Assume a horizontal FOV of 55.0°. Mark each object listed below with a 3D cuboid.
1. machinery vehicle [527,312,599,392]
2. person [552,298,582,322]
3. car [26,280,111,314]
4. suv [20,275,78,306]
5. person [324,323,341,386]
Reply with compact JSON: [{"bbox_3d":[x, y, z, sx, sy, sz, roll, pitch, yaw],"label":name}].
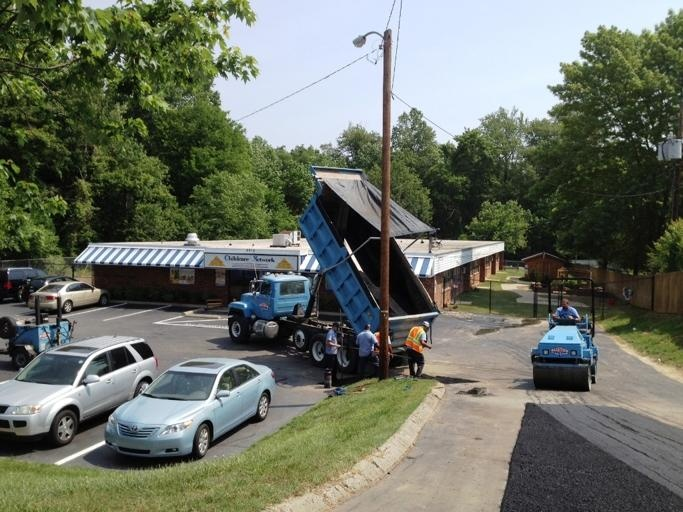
[{"bbox_3d":[7.131,3.311,21.070,1.824,1.978,2.501,-1,-3,21],"label":"machinery vehicle"},{"bbox_3d":[10.160,2.474,29.739,0.902,0.981,0.555,-3,-6,11],"label":"person"},{"bbox_3d":[-15.018,2.300,36.624,1.290,1.764,5.031,-1,-3,13],"label":"car"},{"bbox_3d":[-17.558,2.154,39.931,1.539,1.470,3.655,2,5,27],"label":"suv"},{"bbox_3d":[-0.306,3.412,22.837,0.494,2.092,1.544,0,-2,-1],"label":"person"}]
